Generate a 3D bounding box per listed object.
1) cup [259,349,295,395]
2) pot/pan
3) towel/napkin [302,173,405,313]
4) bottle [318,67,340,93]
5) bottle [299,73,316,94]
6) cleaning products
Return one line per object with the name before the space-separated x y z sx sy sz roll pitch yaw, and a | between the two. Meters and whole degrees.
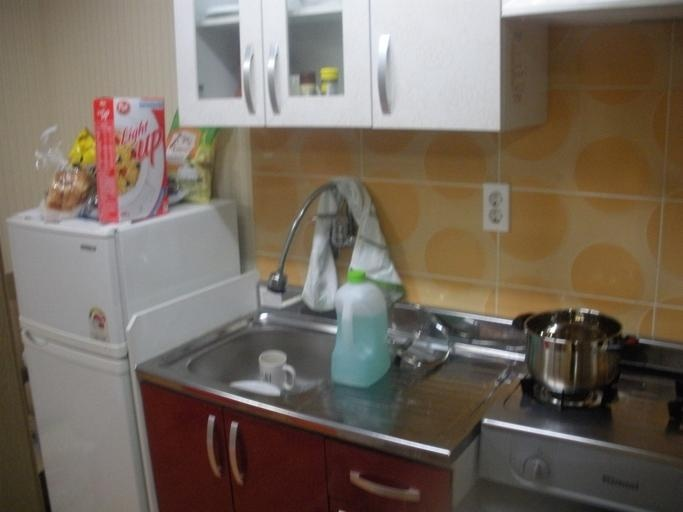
cup | -0.208 0.407 1.795 0.136 0.127 0.087 15 17 28
pot/pan | 0.659 0.276 1.528 0.265 0.181 0.261 -3 11 10
towel/napkin | 0.018 -0.032 1.990 0.367 0.532 0.158 -9 -22 25
bottle | -0.034 -0.520 1.579 0.063 0.106 0.069 0 12 0
bottle | -0.098 -0.519 1.612 0.055 0.069 0.058 0 9 0
cleaning products | 0.057 0.221 1.661 0.163 0.350 0.122 4 14 19
